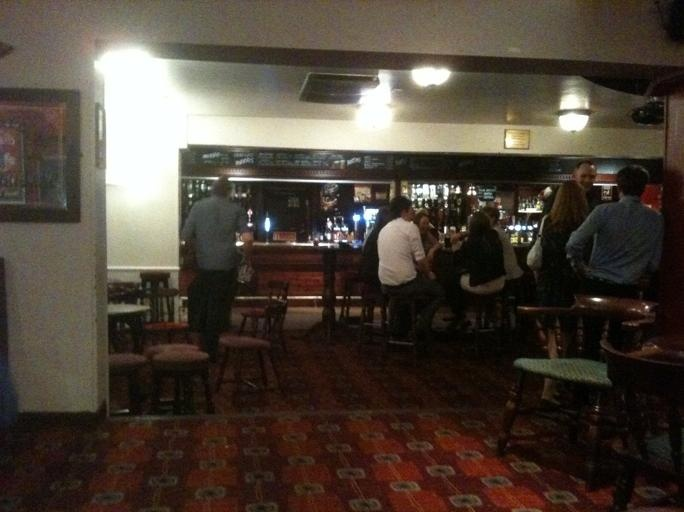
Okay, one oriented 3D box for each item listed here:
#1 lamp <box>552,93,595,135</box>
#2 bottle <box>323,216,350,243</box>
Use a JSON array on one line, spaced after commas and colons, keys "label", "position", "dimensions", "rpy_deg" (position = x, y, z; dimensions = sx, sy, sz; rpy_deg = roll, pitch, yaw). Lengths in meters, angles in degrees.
[{"label": "lamp", "position": [3.103, -1.921, 8.216], "dimensions": [0.446, 0.406, 0.438], "rpy_deg": [-1, 3, -42]}, {"label": "bottle", "position": [-0.107, -0.430, 10.254], "dimensions": [0.487, 0.458, 0.462], "rpy_deg": [1, 5, -1]}]
